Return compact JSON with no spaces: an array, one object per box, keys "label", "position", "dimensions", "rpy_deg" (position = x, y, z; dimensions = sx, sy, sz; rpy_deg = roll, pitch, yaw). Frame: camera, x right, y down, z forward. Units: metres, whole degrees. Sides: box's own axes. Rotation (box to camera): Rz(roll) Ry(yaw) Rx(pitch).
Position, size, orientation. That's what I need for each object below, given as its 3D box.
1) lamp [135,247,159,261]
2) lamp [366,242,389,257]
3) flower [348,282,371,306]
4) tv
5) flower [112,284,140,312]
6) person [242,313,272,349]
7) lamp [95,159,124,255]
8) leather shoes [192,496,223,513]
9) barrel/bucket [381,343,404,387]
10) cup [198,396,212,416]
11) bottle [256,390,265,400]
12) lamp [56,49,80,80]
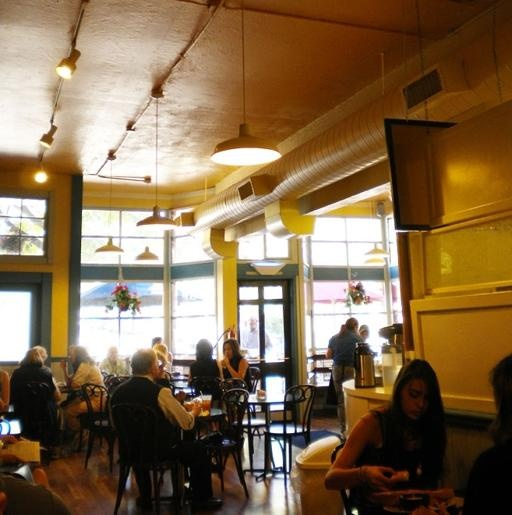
[{"label":"lamp","position":[-1.703,-0.063,7.991],"dimensions":[0.265,0.150,0.254],"rpy_deg":[0,-8,4]},{"label":"lamp","position":[2.268,-0.119,9.466],"dimensions":[0.477,0.265,0.457],"rpy_deg":[1,2,-2]},{"label":"flower","position":[2.224,0.764,11.097],"dimensions":[0.513,0.476,0.190],"rpy_deg":[0,-30,-8]},{"label":"tv","position":[0.917,-0.504,3.029],"dimensions":[0.619,0.585,0.143],"rpy_deg":[5,3,32]},{"label":"flower","position":[-2.353,0.745,9.419],"dimensions":[0.589,0.574,0.545],"rpy_deg":[-1,-5,9]},{"label":"person","position":[-0.013,1.387,9.498],"dimensions":[0.609,0.737,0.394],"rpy_deg":[-3,-14,3]},{"label":"lamp","position":[-2.256,-0.790,7.807],"dimensions":[0.584,1.529,0.559],"rpy_deg":[3,9,-5]},{"label":"leather shoes","position":[-0.413,2.085,4.271],"dimensions":[0.267,0.105,0.086],"rpy_deg":[-1,-7,-6]},{"label":"barrel/bucket","position":[0.965,0.754,3.530],"dimensions":[0.166,0.263,0.263],"rpy_deg":[-3,-11,4]},{"label":"cup","position":[-0.477,1.395,4.800],"dimensions":[0.128,0.180,0.122],"rpy_deg":[-1,-14,0]},{"label":"bottle","position":[0.060,1.523,5.613],"dimensions":[0.089,0.088,0.067],"rpy_deg":[3,-2,-17]},{"label":"lamp","position":[-1.565,-1.654,4.242],"dimensions":[0.163,0.317,0.221],"rpy_deg":[0,-8,-12]}]
